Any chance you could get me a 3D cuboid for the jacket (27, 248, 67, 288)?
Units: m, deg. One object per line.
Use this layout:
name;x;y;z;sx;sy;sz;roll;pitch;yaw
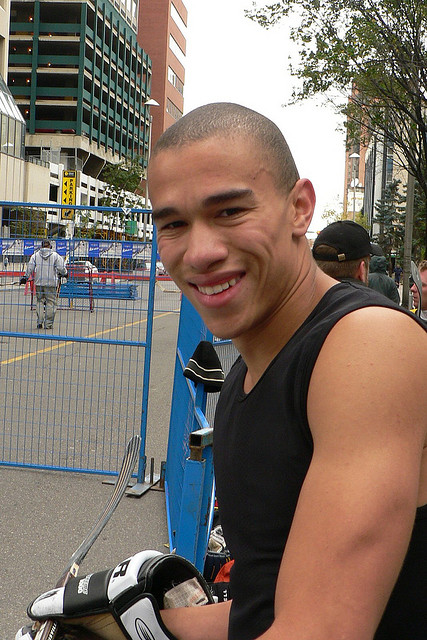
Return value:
jacket;-1.609;-0.519;5.094;0.401;0.408;0.163;-1;21;-19
